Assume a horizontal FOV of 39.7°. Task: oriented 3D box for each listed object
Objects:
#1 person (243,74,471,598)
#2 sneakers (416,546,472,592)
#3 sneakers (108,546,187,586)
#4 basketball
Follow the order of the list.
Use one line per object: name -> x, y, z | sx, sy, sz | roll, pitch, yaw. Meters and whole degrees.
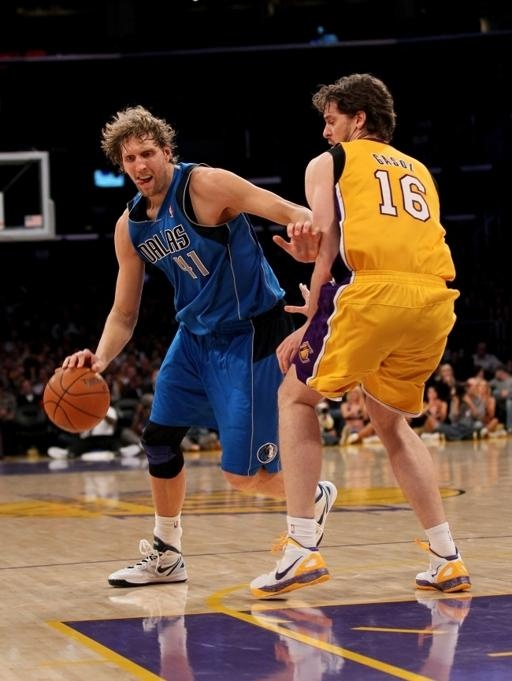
person -> 0.317, -0.034, 2.282 | 0.758, 1.721, 0.443 | -3, 6, -13
sneakers -> 0.597, 0.754, 2.312 | 0.098, 0.122, 0.202 | 6, -9, -20
sneakers -> -0.401, 0.843, 2.664 | 0.318, 0.142, 0.112 | 2, -18, -13
basketball -> -0.717, 0.225, 2.777 | 0.291, 0.262, 0.256 | -11, -4, -3
